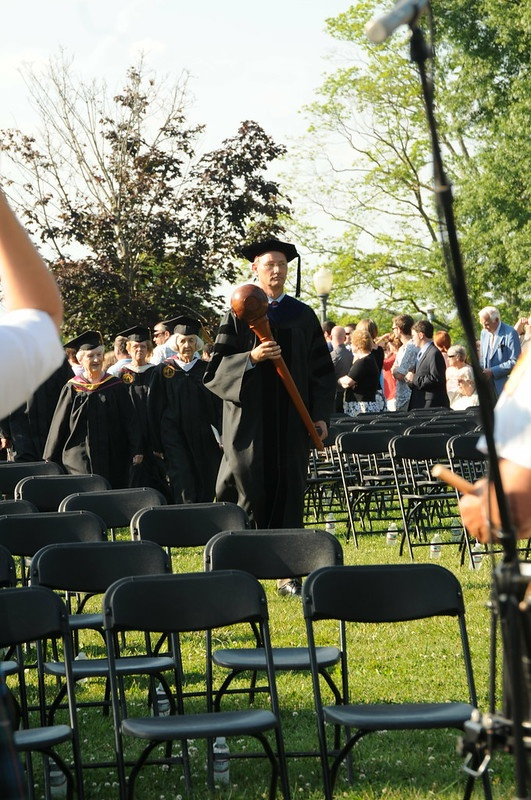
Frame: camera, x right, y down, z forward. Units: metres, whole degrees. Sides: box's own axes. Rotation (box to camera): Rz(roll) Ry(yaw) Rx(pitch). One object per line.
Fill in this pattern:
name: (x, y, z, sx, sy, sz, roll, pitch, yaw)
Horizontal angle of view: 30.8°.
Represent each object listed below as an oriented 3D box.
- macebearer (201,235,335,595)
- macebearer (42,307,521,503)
macebearer: (-0.012, 0.028, 6.859, 0.921, 2.474, 0.968, 0, 12, -23)
macebearer: (0.059, 0.044, 6.749, 0.925, 2.106, 0.821, -5, 8, -6)
